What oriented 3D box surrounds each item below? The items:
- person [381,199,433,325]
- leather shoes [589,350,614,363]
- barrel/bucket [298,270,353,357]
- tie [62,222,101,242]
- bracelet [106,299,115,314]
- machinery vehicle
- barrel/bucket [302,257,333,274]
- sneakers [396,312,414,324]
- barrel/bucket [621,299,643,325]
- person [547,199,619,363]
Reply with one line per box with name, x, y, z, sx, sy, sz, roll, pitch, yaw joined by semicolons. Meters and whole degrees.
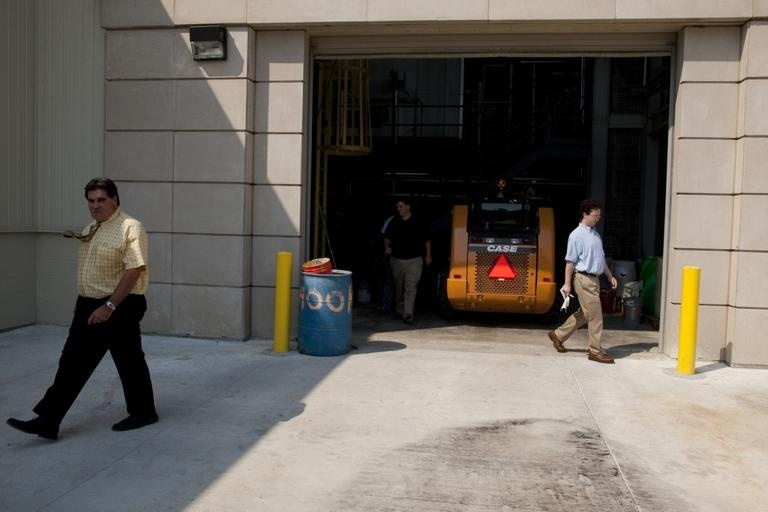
person;0.420;0.091;13.938;0.849;2.156;1.126;0;14;-2
leather shoes;3.177;1.464;11.051;0.315;0.133;0.146;-2;1;28
barrel/bucket;-0.892;0.836;11.340;1.006;1.251;1.069;1;-1;0
tie;-3.992;-0.320;9.929;0.479;0.210;0.188;13;44;1
bracelet;-3.004;0.548;8.262;0.107;0.168;0.128;-6;16;-23
machinery vehicle;2.172;0.145;14.547;1.904;2.249;2.824;2;-8;6
barrel/bucket;-0.976;0.142;11.053;0.266;0.268;0.275;1;1;0
sneakers;0.371;1.133;13.844;0.128;0.171;0.383;1;-1;-27
barrel/bucket;4.695;1.036;14.285;0.419;0.479;0.435;0;5;0
person;2.985;0.384;11.228;0.946;2.413;1.014;4;14;13
